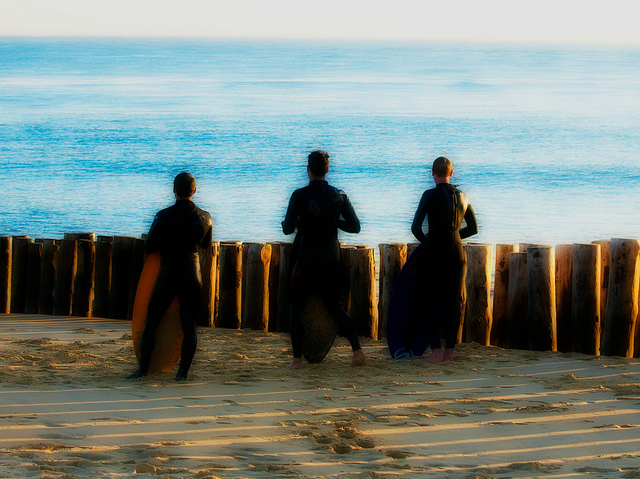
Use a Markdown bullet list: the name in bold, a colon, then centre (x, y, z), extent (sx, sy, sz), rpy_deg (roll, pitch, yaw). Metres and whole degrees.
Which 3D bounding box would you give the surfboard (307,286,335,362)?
- **surfboard**: centre (0.085, 3.338, 64.600), extent (1.762, 3.664, 0.449), rpy_deg (12, 25, 29)
